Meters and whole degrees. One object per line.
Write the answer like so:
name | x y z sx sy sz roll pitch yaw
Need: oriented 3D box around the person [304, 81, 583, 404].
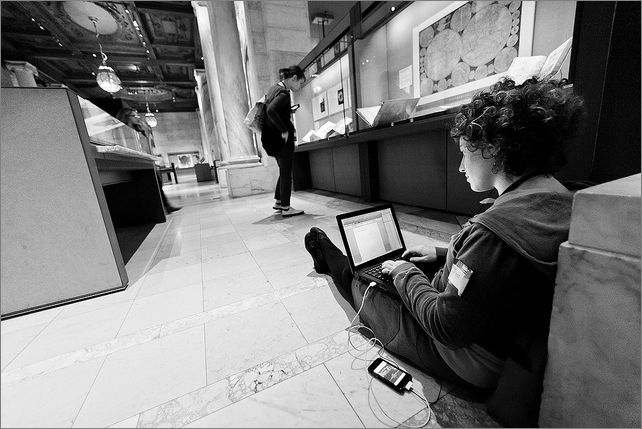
person | 0.562 0.065 2.462 0.962 1.493 1.895 -9 14 -37

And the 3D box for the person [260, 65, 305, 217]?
person | -0.398 -0.853 4.576 0.539 1.760 0.397 -16 15 -25

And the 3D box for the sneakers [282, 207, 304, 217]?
sneakers | -0.382 -0.031 4.739 0.307 0.122 0.109 -5 14 -20

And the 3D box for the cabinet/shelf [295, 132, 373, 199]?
cabinet/shelf | 0.393 -0.850 6.246 0.864 0.938 2.762 -11 11 -21

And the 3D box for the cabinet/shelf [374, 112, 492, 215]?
cabinet/shelf | 1.329 -0.684 4.308 0.869 1.078 1.666 -8 10 -29

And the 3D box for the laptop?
laptop | 0.441 0.181 2.280 0.613 0.341 0.609 13 21 29
